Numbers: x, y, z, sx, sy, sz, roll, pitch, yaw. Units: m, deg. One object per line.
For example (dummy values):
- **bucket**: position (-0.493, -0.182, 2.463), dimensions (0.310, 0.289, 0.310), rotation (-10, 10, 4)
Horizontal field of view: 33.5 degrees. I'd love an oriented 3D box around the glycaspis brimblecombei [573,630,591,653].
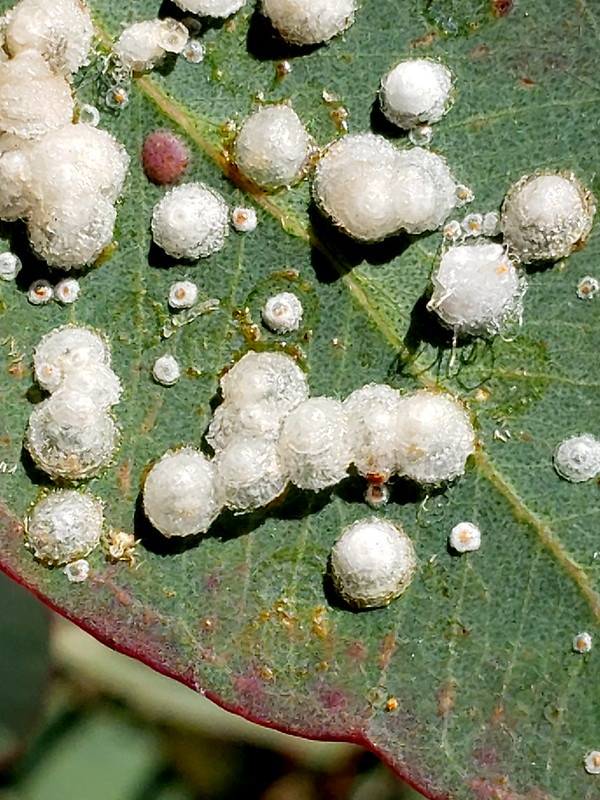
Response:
- **glycaspis brimblecombei**: position (0.726, 0.625, 2.553), dimensions (0.048, 0.011, 0.056), rotation (-3, 85, 1)
